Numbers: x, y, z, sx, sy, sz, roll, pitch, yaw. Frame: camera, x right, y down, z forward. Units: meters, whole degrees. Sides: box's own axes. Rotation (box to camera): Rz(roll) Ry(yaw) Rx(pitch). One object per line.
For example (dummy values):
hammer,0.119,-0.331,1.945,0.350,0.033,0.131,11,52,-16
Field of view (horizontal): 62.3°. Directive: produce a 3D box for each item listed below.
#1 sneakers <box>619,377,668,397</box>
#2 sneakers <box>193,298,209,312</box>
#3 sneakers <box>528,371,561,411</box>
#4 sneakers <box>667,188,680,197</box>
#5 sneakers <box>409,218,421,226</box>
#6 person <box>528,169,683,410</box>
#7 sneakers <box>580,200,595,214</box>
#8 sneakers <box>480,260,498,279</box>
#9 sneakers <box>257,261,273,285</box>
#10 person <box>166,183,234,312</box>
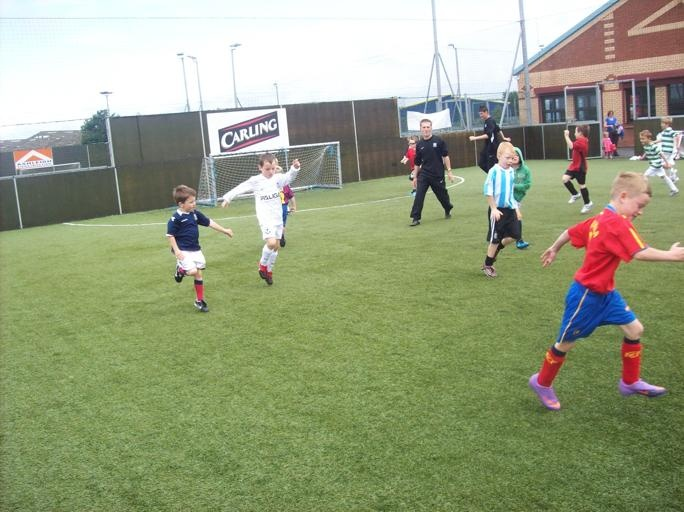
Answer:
sneakers,2.245,0.972,4.226,0.344,0.140,0.127,-1,-2,8
sneakers,-1.661,0.565,6.621,0.092,0.118,0.253,-10,14,-39
sneakers,1.521,1.027,4.256,0.149,0.300,0.111,-34,-12,-20
sneakers,7.022,-1.328,11.863,0.115,0.100,0.296,17,6,20
sneakers,1.401,-0.634,10.825,0.084,0.112,0.264,-5,-7,36
person,1.959,0.229,4.236,1.039,1.668,0.808,-2,10,28
sneakers,4.672,-0.920,10.760,0.420,0.165,0.148,-34,7,-38
sneakers,1.871,0.176,7.120,0.098,0.121,0.245,-2,7,-4
sneakers,-1.018,0.203,7.508,0.118,0.335,0.150,-30,-12,-40
person,-1.802,-0.147,6.951,0.646,1.455,1.149,-9,9,-17
